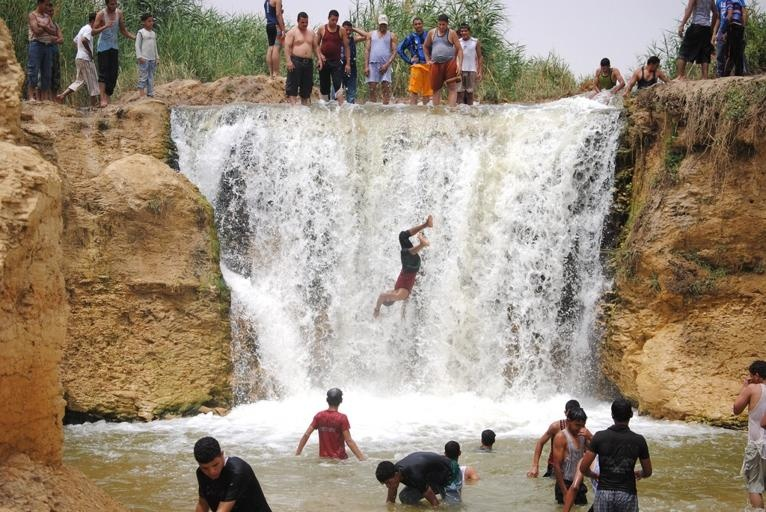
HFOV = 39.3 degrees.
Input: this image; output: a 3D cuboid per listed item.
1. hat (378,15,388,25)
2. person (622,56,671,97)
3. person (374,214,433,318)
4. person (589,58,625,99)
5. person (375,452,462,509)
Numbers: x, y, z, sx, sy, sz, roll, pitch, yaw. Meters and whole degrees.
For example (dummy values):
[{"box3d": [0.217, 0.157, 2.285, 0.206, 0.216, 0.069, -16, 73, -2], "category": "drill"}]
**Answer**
[{"box3d": [-0.023, -5.014, 22.483, 0.239, 0.207, 0.426, 4, 6, -3], "category": "hat"}, {"box3d": [5.337, -3.714, 21.728, 0.801, 0.801, 1.423, 3, 15, 13], "category": "person"}, {"box3d": [0.491, 0.235, 20.957, 0.809, 2.203, 1.426, -11, 17, -39], "category": "person"}, {"box3d": [4.872, -3.820, 23.244, 0.624, 0.998, 0.498, 7, 29, 27], "category": "person"}, {"box3d": [0.542, 3.453, 16.296, 1.114, 0.813, 0.701, -12, 23, -24], "category": "person"}]
